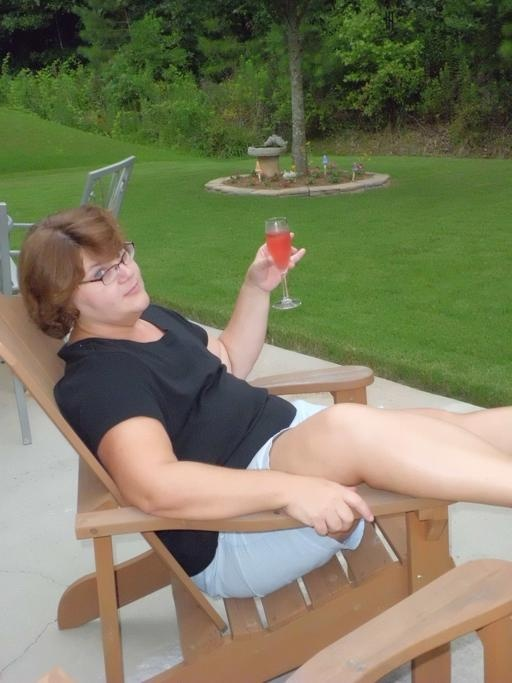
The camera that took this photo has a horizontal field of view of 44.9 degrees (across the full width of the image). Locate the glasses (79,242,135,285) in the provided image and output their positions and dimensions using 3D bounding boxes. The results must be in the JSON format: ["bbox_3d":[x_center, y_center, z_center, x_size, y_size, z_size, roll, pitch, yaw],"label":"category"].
[{"bbox_3d":[-0.341,-0.161,1.360,0.112,0.031,0.105,-4,31,31],"label":"glasses"}]
